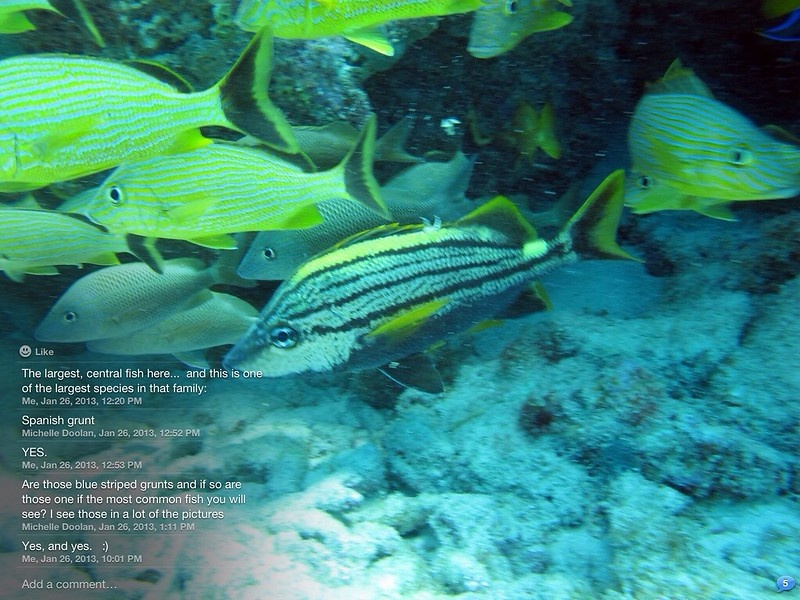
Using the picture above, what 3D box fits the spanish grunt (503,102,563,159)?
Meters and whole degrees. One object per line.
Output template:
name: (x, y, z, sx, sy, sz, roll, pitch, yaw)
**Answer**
spanish grunt: (0.809, -1.020, 4.339, 0.338, 0.338, 0.200, 0, 44, 1)
